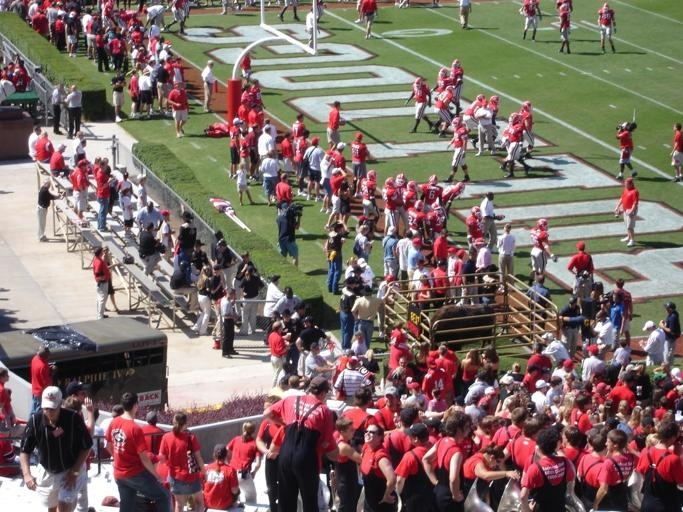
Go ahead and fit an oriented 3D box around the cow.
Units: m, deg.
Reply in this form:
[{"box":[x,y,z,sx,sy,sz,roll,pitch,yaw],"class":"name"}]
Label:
[{"box":[2.682,1.656,36.818,2.049,1.057,0.578,-5,7,-25],"class":"cow"}]
